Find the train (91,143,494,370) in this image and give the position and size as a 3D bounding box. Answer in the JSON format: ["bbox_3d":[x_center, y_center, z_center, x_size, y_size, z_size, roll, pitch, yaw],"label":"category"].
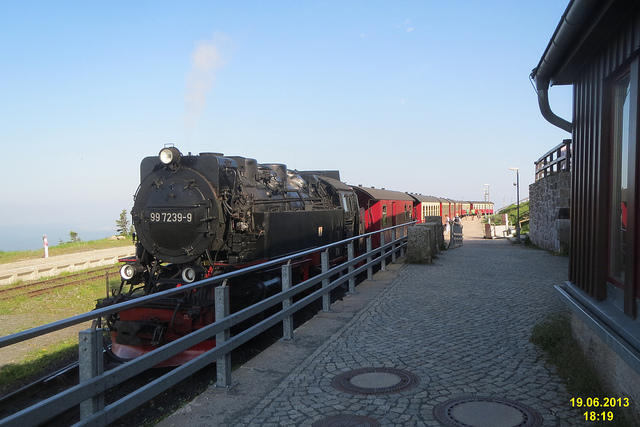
[{"bbox_3d":[0.997,1.114,19.160,4.341,5.226,25.123,-2,-2,24],"label":"train"}]
